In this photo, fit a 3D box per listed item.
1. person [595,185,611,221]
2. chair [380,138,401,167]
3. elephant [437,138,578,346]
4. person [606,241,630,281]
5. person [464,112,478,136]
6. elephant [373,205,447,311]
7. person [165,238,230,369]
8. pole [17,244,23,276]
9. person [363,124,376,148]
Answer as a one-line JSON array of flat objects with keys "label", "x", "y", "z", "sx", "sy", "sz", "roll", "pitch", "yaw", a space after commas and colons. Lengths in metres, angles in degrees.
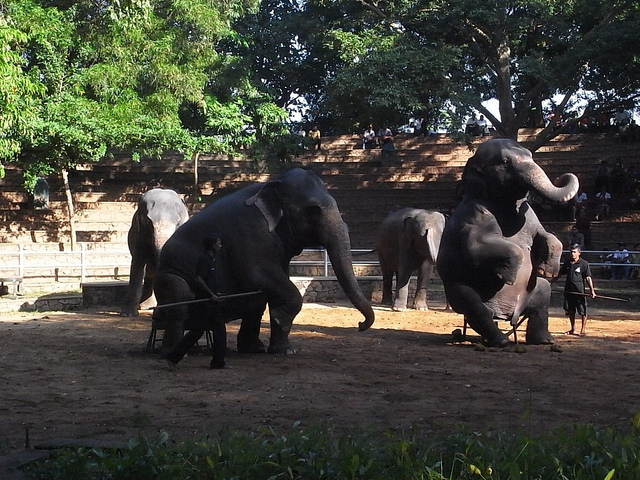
[{"label": "person", "x": 9.152, "y": -1.224, "z": 29.741, "sx": 0.488, "sy": 0.919, "sz": 2.102, "roll": 3, "pitch": 8, "yaw": 16}, {"label": "chair", "x": 2.663, "y": -3.285, "z": 34.344, "sx": 0.552, "sy": 1.052, "sz": 1.130, "roll": 5, "pitch": 9, "yaw": 26}, {"label": "elephant", "x": 2.916, "y": -0.004, "z": 15.253, "sx": 2.115, "sy": 3.333, "sz": 1.626, "roll": -1, "pitch": 10, "yaw": -7}, {"label": "person", "x": 8.354, "y": 0.534, "z": 25.503, "sx": 0.508, "sy": 0.925, "sz": 0.667, "roll": -4, "pitch": 9, "yaw": 32}, {"label": "person", "x": 5.769, "y": -4.323, "z": 34.988, "sx": 0.426, "sy": 0.676, "sz": 1.361, "roll": 2, "pitch": 8, "yaw": 9}, {"label": "elephant", "x": 2.207, "y": 0.401, "z": 21.176, "sx": 1.461, "sy": 2.338, "sz": 3.356, "roll": 4, "pitch": -2, "yaw": -15}, {"label": "person", "x": -1.741, "y": 0.903, "z": 13.424, "sx": 0.816, "sy": 1.896, "sz": 0.802, "roll": 0, "pitch": 8, "yaw": -3}, {"label": "pole", "x": -7.173, "y": 0.472, "z": 21.946, "sx": 0.090, "sy": 0.676, "sz": 1.626, "roll": -2, "pitch": 8, "yaw": -18}, {"label": "person", "x": 1.888, "y": -3.967, "z": 35.307, "sx": 0.452, "sy": 0.755, "sz": 0.457, "roll": 1, "pitch": 8, "yaw": 1}]
